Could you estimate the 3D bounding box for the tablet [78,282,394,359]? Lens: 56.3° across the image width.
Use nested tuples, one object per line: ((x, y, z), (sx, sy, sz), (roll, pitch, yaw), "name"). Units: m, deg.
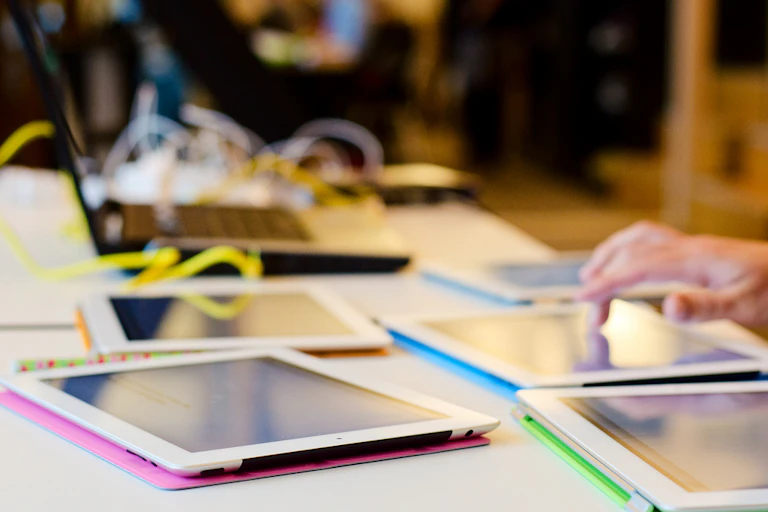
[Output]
((-0.163, 0.066, 0.729), (0.282, 0.018, 0.243), (2, 8, -11), "tablet")
